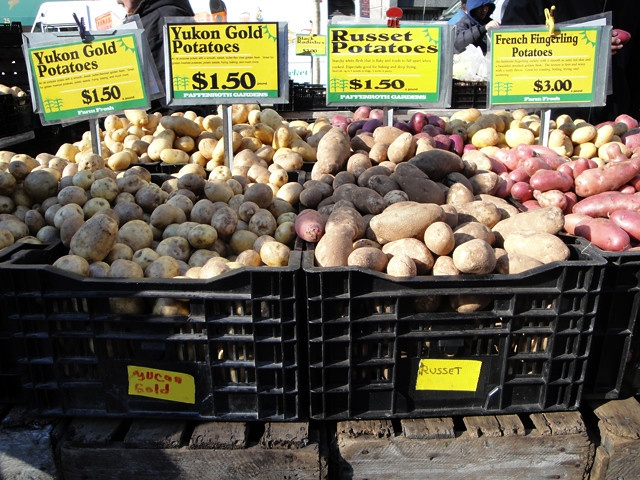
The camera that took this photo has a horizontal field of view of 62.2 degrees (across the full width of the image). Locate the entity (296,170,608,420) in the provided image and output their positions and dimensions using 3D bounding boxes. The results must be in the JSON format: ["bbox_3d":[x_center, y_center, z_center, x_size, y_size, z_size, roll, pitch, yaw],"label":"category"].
[{"bbox_3d":[0.537,0.227,2.268,1.217,0.501,0.824,-1,22,0],"label":"entity"}]

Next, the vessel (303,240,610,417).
[{"bbox_3d":[0.562,0.298,2.377,0.999,0.443,0.913,-2,16,-1],"label":"vessel"}]
